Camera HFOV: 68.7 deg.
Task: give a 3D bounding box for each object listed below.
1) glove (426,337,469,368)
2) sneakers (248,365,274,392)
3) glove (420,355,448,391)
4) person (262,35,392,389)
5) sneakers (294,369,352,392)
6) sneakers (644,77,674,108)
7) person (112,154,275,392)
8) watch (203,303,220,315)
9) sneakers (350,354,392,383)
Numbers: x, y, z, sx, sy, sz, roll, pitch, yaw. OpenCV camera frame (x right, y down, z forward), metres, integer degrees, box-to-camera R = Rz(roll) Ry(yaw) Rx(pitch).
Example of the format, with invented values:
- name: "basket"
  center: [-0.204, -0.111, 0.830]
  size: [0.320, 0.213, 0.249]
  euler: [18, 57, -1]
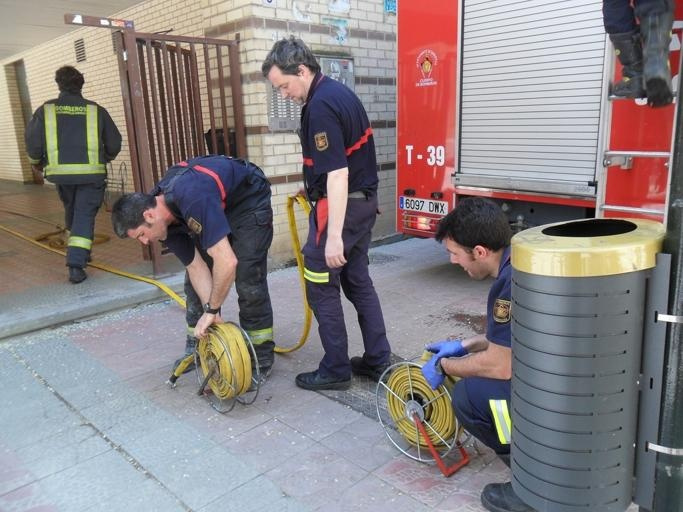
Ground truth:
- name: "glove"
  center: [0.568, 0.508, 2.677]
  size: [0.170, 0.046, 0.123]
  euler: [-12, 4, 3]
- name: "sneakers"
  center: [-0.611, 0.867, 3.622]
  size: [0.154, 0.072, 0.204]
  euler: [-5, 18, 43]
- name: "glove"
  center: [0.481, 0.597, 2.596]
  size: [0.073, 0.154, 0.156]
  euler: [22, 42, -8]
- name: "person"
  center: [-0.038, -0.082, 3.333]
  size: [0.682, 2.061, 0.408]
  euler: [-5, 17, -6]
- name: "sneakers"
  center: [-0.136, 0.877, 3.581]
  size: [0.399, 0.136, 0.144]
  euler: [6, 6, 4]
- name: "sneakers"
  center: [1.567, -0.796, 2.454]
  size: [0.112, 0.078, 0.176]
  euler: [14, -1, 4]
- name: "person"
  center: [-0.921, 0.124, 3.481]
  size: [0.794, 1.604, 0.887]
  euler: [-1, 17, 4]
- name: "watch"
  center: [-0.837, 0.339, 3.205]
  size: [0.089, 0.027, 0.081]
  euler: [6, 28, -2]
- name: "sneakers"
  center: [0.171, 0.797, 3.699]
  size: [0.146, 0.122, 0.391]
  euler: [-15, 23, -41]
